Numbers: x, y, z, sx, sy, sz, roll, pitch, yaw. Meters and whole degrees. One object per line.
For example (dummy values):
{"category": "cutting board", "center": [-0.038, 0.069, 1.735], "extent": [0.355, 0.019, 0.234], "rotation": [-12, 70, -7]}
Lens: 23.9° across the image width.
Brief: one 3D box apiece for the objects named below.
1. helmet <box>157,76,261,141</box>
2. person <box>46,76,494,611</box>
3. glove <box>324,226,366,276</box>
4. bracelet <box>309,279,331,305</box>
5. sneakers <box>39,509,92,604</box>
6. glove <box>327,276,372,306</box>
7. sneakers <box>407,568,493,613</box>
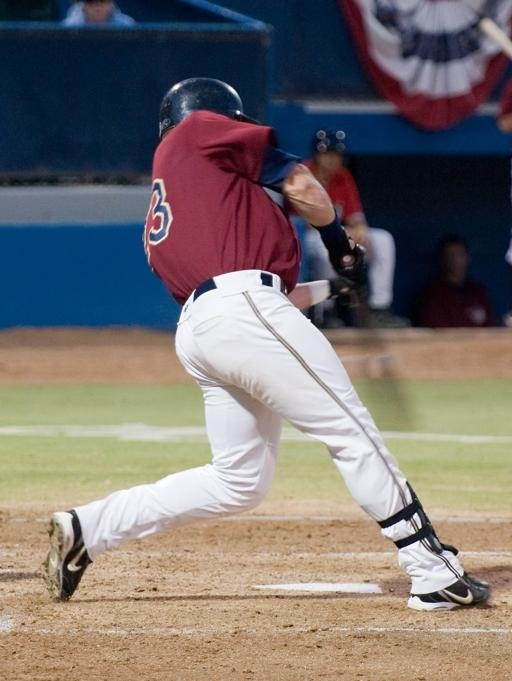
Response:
{"category": "helmet", "center": [-0.129, -0.628, 3.289], "extent": [0.231, 0.100, 0.154], "rotation": [-8, 5, -26]}
{"category": "person", "center": [0.046, 0.045, 3.274], "extent": [1.102, 1.409, 0.505], "rotation": [7, 19, 4]}
{"category": "glove", "center": [0.230, -0.235, 3.230], "extent": [0.091, 0.137, 0.063], "rotation": [-39, 13, 0]}
{"category": "bracelet", "center": [0.177, -0.136, 3.420], "extent": [0.072, 0.060, 0.063], "rotation": [7, -1, -19]}
{"category": "sneakers", "center": [-0.515, 0.591, 3.331], "extent": [0.136, 0.263, 0.100], "rotation": [-12, 28, -18]}
{"category": "glove", "center": [0.262, -0.133, 3.391], "extent": [0.112, 0.038, 0.064], "rotation": [11, 1, -42]}
{"category": "sneakers", "center": [0.521, 0.677, 3.260], "extent": [0.272, 0.111, 0.084], "rotation": [-4, -1, -8]}
